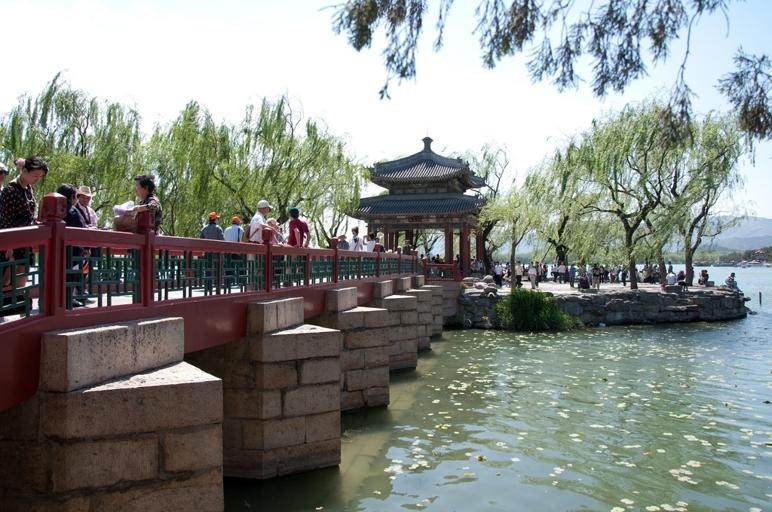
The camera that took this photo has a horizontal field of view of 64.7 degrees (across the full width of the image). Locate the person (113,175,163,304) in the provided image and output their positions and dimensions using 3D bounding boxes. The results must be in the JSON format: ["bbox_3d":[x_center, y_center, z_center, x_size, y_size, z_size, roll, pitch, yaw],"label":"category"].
[{"bbox_3d":[-2.813,-0.267,6.922,0.513,1.407,1.654,-1,2,-22],"label":"person"}]

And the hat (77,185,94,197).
[{"bbox_3d":[-4.005,-0.861,8.108,0.239,0.120,0.283,17,-7,-28],"label":"hat"}]

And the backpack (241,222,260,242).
[{"bbox_3d":[-2.155,-0.370,9.722,0.287,0.361,0.185,-1,-12,7],"label":"backpack"}]
